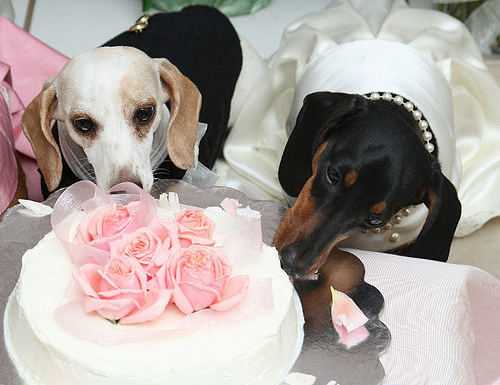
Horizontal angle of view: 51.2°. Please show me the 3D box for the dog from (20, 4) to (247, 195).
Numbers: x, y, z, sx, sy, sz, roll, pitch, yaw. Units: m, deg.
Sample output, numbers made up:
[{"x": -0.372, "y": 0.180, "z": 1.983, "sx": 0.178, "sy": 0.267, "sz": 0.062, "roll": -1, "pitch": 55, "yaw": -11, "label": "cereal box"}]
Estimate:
[{"x": -0.351, "y": -0.417, "z": 1.907, "sx": 0.548, "sy": 0.559, "sz": 0.927, "roll": 10, "pitch": 64, "yaw": 0, "label": "dog"}]

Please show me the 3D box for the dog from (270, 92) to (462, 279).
[{"x": 0.355, "y": -0.052, "z": 1.726, "sx": 0.376, "sy": 0.476, "sz": 0.767, "roll": 4, "pitch": 52, "yaw": 1, "label": "dog"}]
